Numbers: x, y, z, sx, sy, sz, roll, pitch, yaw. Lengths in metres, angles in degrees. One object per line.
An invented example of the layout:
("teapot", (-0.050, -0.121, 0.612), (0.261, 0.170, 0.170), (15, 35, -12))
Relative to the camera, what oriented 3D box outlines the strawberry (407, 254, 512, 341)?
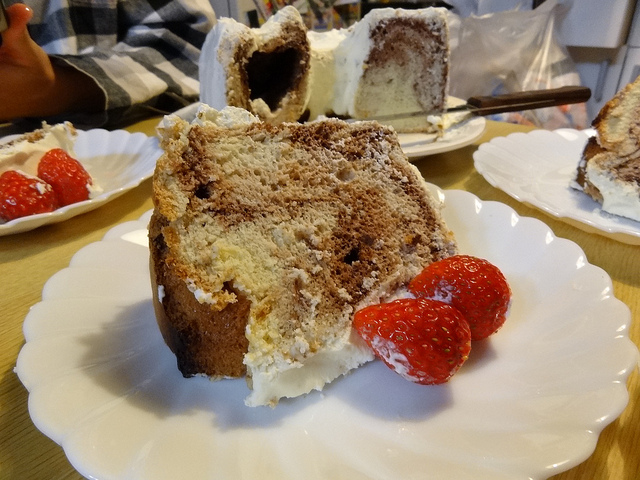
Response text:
("strawberry", (0.264, 0.113, 1.082), (0.158, 0.135, 0.136), (0, 58, 4))
